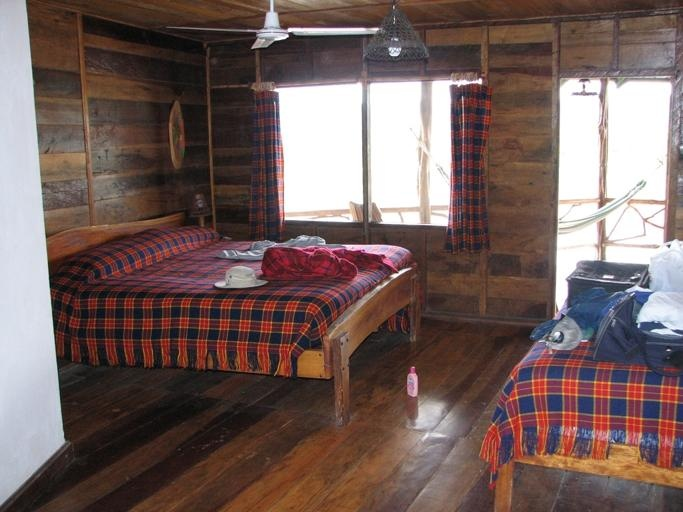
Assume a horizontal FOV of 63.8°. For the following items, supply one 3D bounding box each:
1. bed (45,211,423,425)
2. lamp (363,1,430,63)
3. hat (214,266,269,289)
[{"bbox_3d":[-0.919,0.357,4.973,2.921,1.252,2.351,2,11,17],"label":"bed"},{"bbox_3d":[0.386,-1.645,3.914,0.459,0.448,0.461,-1,12,2],"label":"lamp"},{"bbox_3d":[-0.769,0.181,4.121,0.277,0.066,0.238,-1,7,16],"label":"hat"}]
